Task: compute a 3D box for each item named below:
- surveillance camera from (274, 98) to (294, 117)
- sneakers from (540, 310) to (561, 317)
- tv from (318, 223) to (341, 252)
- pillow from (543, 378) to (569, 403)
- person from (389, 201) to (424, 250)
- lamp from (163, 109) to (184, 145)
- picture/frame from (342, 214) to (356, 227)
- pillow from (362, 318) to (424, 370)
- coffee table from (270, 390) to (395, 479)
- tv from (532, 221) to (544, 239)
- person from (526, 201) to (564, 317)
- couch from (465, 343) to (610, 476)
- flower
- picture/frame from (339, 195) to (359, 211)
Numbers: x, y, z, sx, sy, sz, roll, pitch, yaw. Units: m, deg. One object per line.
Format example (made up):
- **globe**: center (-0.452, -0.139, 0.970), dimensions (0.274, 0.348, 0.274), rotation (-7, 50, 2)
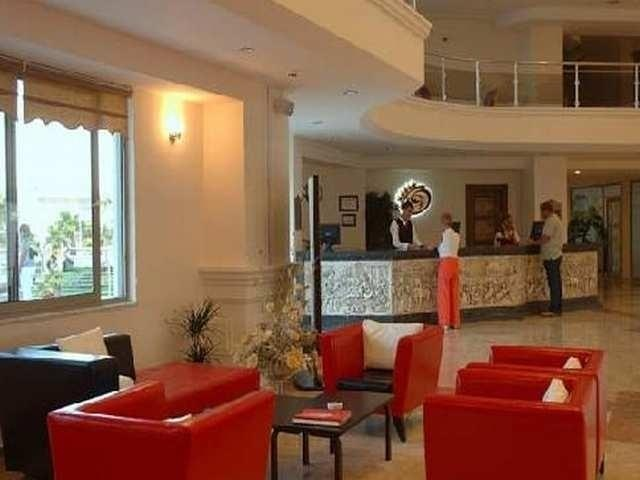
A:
- **surveillance camera**: center (-0.476, -1.762, 7.359), dimensions (0.255, 0.206, 0.092), rotation (3, 3, -31)
- **sneakers**: center (4.480, 1.420, 10.828), dimensions (0.348, 0.162, 0.134), rotation (4, -4, 5)
- **tv**: center (0.121, -0.055, 9.204), dimensions (0.480, 0.540, 0.381), rotation (-1, 11, -15)
- **pillow**: center (1.444, 0.908, 3.392), dimensions (0.123, 0.059, 0.235), rotation (11, 19, 19)
- **person**: center (1.543, -0.286, 10.059), dimensions (0.513, 0.847, 0.710), rotation (0, 2, 33)
- **lamp**: center (-1.711, -1.334, 6.475), dimensions (0.129, 0.359, 0.251), rotation (-3, 7, 36)
- **picture/frame**: center (0.715, -0.542, 13.843), dimensions (0.280, 0.307, 0.021), rotation (1, 7, -4)
- **pillow**: center (0.667, 0.971, 5.143), dimensions (0.410, 0.338, 0.154), rotation (1, -37, 27)
- **coffee table**: center (0.015, 1.293, 4.229), dimensions (0.627, 0.423, 0.826), rotation (0, 2, 23)
- **tv**: center (4.508, -0.216, 11.515), dimensions (0.235, 0.472, 0.253), rotation (6, -23, 23)
- **person**: center (4.619, 0.334, 11.205), dimensions (0.532, 2.203, 1.202), rotation (0, 2, 25)
- **couch**: center (1.657, 1.102, 4.275), dimensions (0.916, 1.036, 0.992), rotation (-2, -3, 24)
- **flower**: center (-0.415, 1.119, 6.157), dimensions (0.695, 0.645, 0.867), rotation (0, 0, -43)
- **picture/frame**: center (0.700, -0.952, 13.803), dimensions (0.345, 0.316, 0.030), rotation (1, 6, -6)
